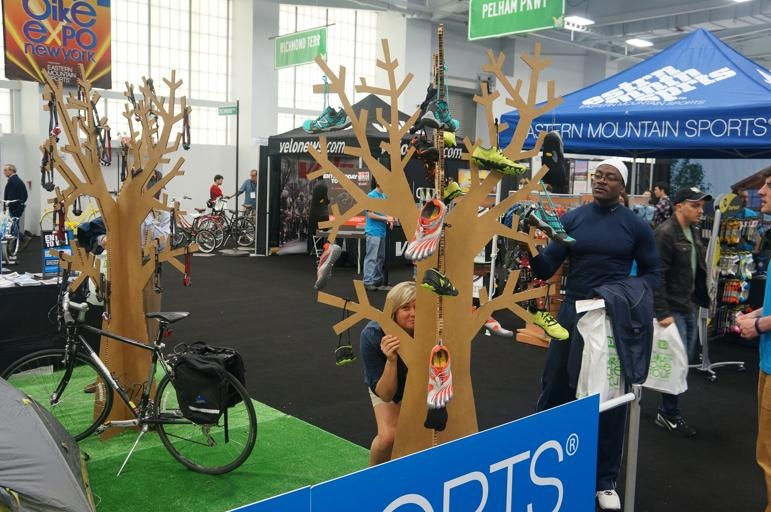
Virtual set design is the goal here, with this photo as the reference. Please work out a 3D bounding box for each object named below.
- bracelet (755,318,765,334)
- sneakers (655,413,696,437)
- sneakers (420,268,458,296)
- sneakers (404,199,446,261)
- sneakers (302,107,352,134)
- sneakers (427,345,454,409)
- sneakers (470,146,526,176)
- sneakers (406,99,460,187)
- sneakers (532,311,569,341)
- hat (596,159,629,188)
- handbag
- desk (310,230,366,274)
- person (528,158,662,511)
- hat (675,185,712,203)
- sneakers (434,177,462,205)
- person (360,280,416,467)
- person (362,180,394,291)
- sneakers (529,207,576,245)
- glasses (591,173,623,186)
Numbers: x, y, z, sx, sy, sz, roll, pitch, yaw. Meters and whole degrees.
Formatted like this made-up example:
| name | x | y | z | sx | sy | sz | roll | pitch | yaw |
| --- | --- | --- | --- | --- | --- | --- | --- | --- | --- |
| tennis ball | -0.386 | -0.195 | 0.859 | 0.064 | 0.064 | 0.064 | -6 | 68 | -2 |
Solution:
| name | x | y | z | sx | sy | sz | roll | pitch | yaw |
| --- | --- | --- | --- | --- | --- | --- | --- | --- | --- |
| bracelet | 2.731 | 0.521 | 4.558 | 0.070 | 0.091 | 0.046 | 14 | 2 | -31 |
| sneakers | 2.898 | 1.686 | 6.239 | 0.361 | 0.158 | 0.136 | 12 | 17 | 37 |
| sneakers | 0.336 | 0.170 | 3.897 | 0.213 | 0.148 | 0.109 | 1 | 10 | 3 |
| sneakers | 0.266 | -0.128 | 3.941 | 0.184 | 0.444 | 0.146 | 19 | -5 | 26 |
| sneakers | -0.451 | -1.030 | 4.836 | 0.190 | 0.228 | 0.508 | -19 | 17 | -41 |
| sneakers | 0.351 | 0.789 | 4.056 | 0.168 | 0.371 | 0.144 | 3 | -1 | 25 |
| sneakers | 0.715 | -0.593 | 4.139 | 0.408 | 0.181 | 0.164 | 13 | 35 | -2 |
| sneakers | 0.302 | -0.769 | 4.167 | 0.278 | 0.637 | 0.218 | -3 | -2 | -38 |
| sneakers | 1.185 | 0.516 | 4.537 | 0.240 | 0.215 | 0.318 | 2 | 10 | 10 |
| hat | 1.888 | -0.705 | 5.170 | 0.248 | 0.266 | 0.333 | 18 | 15 | 14 |
| handbag | -1.618 | 1.138 | 5.520 | 0.650 | 0.737 | 0.606 | 4 | 1 | -26 |
| desk | -1.060 | -0.107 | 14.452 | 1.535 | 0.917 | 1.580 | 4 | 5 | 8 |
| person | 1.733 | 0.632 | 5.168 | 0.934 | 2.792 | 0.720 | 5 | 11 | 23 |
| hat | 3.148 | -0.597 | 6.431 | 0.189 | 0.138 | 0.266 | -3 | 1 | -43 |
| sneakers | 0.415 | -0.420 | 4.141 | 0.090 | 0.103 | 0.215 | -9 | 9 | -22 |
| person | 0.026 | 0.898 | 4.463 | 0.355 | 1.443 | 0.538 | -2 | 10 | -17 |
| person | -0.141 | -0.068 | 11.741 | 0.523 | 1.483 | 0.896 | 1 | 10 | 0 |
| sneakers | 1.281 | -0.214 | 4.750 | 0.353 | 0.141 | 0.130 | 33 | 34 | -13 |
| glasses | 1.818 | -0.613 | 5.077 | 0.243 | 0.093 | 0.171 | 4 | 11 | 19 |
